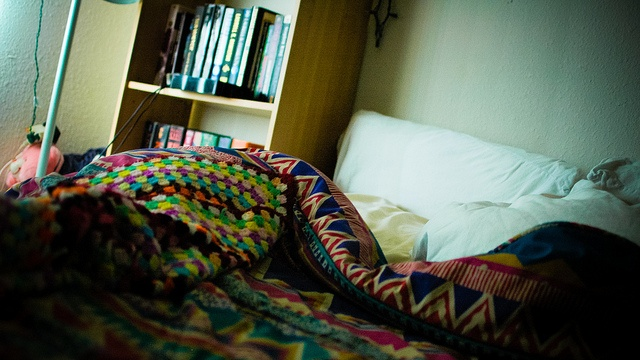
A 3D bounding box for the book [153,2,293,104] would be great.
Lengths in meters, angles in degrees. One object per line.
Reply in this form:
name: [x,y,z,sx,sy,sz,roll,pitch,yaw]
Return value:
book: [-0.440,-0.591,2.166,0.297,0.472,0.530,20,-3,-43]
